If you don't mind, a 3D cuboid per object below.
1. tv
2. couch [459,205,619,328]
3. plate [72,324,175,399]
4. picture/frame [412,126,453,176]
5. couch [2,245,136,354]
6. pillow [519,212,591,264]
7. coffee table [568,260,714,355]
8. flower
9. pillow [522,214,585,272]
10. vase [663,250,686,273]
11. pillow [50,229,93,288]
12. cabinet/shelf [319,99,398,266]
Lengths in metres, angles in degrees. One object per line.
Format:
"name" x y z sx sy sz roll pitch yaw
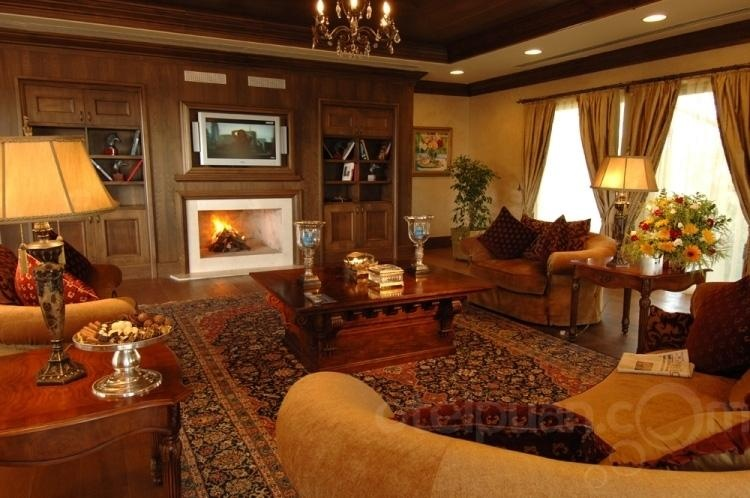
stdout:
"tv" -1.886 -1.496 6.940 0.948 0.489 0.119 -1 2 -25
"couch" 1.640 0.199 5.428 1.121 1.201 1.780 -1 5 -26
"plate" -1.210 0.587 2.524 0.415 0.214 0.384 -5 16 -22
"picture/frame" 0.949 -1.739 9.021 1.125 0.923 0.077 -3 9 -27
"couch" -1.862 0.315 3.105 0.617 0.505 0.586 13 16 42
"pillow" 1.847 -0.107 5.308 0.189 0.535 0.611 23 -17 -28
"coffee table" 2.196 0.329 4.518 1.008 0.744 0.934 -4 7 -34
"flower" 2.579 -0.157 4.403 0.922 0.582 0.917 3 8 31
"pillow" 1.852 -0.094 5.284 0.196 0.548 0.626 19 -12 -25
"vase" 2.420 0.114 4.199 0.182 0.172 0.167 -2 3 -1
"pillow" -2.363 0.056 4.013 0.172 0.495 0.498 -16 8 -9
"cabinet/shelf" -0.256 -1.000 7.793 1.288 2.344 0.724 -5 12 -12
